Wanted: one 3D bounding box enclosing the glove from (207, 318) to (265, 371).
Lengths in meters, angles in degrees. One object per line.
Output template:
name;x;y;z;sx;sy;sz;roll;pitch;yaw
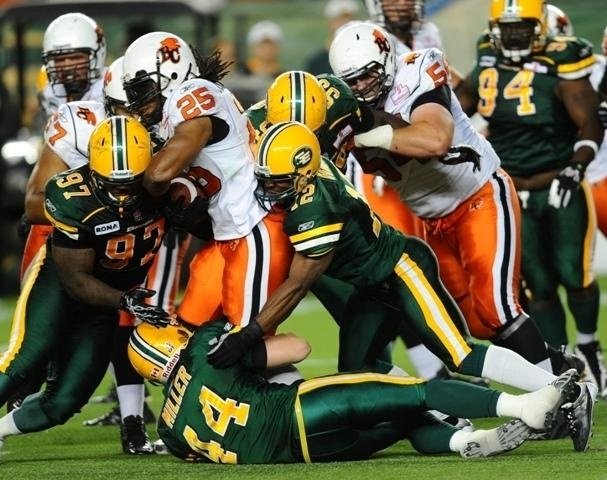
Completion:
glove;-0.245;0.412;2.901;0.245;0.198;0.087;0;-6;-31

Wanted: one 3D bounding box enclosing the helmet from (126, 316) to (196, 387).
helmet;-0.605;0.444;3.091;0.313;0.217;0.225;16;-2;13

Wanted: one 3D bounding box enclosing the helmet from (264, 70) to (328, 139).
helmet;-0.045;-0.594;3.211;0.227;0.272;0.251;0;-24;-6

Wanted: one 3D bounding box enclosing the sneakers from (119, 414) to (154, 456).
sneakers;-0.763;0.886;3.432;0.138;0.153;0.208;-1;-5;-17

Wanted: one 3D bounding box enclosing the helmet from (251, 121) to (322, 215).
helmet;-0.061;-0.311;2.989;0.221;0.316;0.163;-5;-5;22

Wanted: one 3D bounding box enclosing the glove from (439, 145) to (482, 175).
glove;0.742;-0.368;3.513;0.179;0.049;0.104;3;35;14

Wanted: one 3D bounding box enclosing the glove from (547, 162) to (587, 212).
glove;1.407;-0.298;3.983;0.194;0.223;0.099;-4;-5;14

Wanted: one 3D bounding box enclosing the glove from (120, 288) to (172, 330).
glove;-0.653;0.283;3.062;0.191;0.073;0.141;26;29;2
